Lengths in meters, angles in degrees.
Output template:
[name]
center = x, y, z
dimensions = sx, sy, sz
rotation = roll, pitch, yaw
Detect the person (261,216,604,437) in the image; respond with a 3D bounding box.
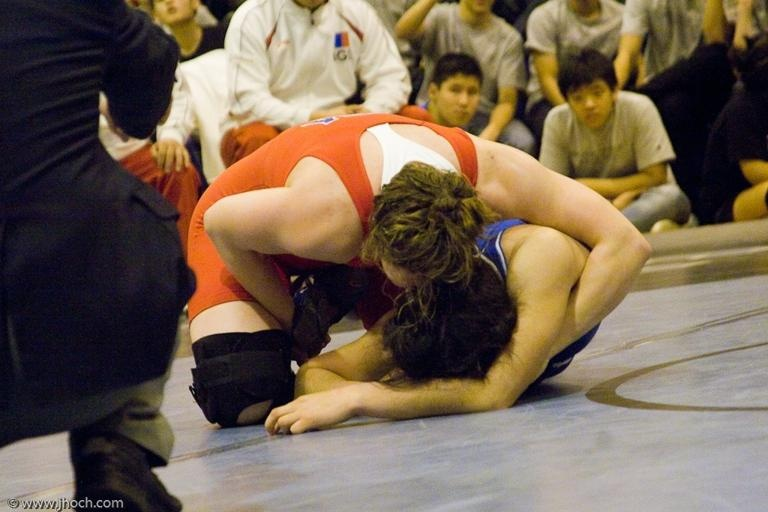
[person]
center = 0.100, 0.174, 1.927
dimensions = 0.831, 0.509, 0.451
rotation = -13, 28, -23
